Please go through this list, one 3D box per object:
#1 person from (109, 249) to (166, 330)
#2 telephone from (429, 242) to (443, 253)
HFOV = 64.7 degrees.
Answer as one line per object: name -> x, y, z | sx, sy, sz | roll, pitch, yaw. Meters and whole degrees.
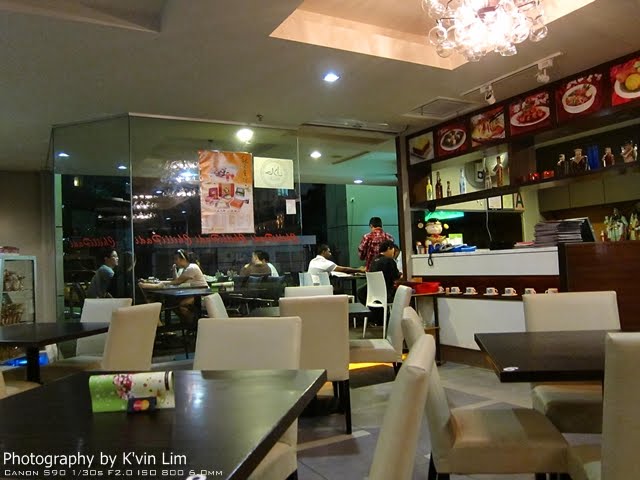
person -> -1.948, 0.437, 5.165 | 0.492, 0.887, 0.481 | 2, -1, -44
telephone -> 1.369, 0.102, 5.966 | 0.147, 0.102, 0.187 | -3, 6, -7
